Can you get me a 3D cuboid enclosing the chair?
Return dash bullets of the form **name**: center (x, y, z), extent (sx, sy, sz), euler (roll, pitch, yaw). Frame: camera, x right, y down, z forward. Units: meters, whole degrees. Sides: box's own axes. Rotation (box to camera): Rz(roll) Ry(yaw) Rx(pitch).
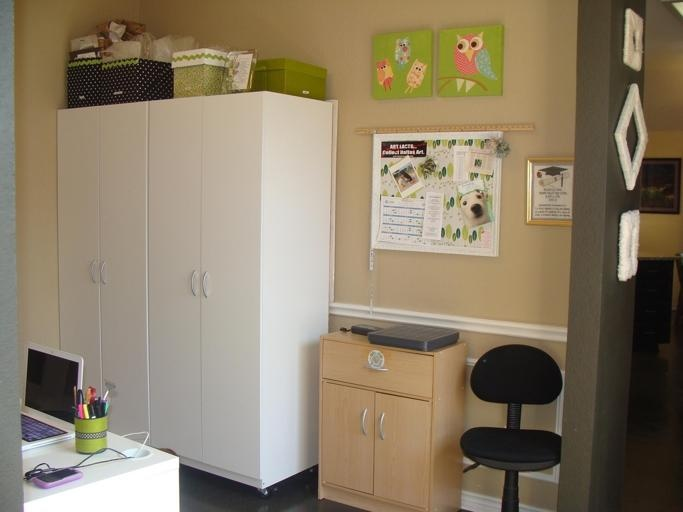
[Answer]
- **chair**: center (0.928, 1.020, 3.095), extent (0.532, 0.994, 0.616), euler (1, 5, 22)
